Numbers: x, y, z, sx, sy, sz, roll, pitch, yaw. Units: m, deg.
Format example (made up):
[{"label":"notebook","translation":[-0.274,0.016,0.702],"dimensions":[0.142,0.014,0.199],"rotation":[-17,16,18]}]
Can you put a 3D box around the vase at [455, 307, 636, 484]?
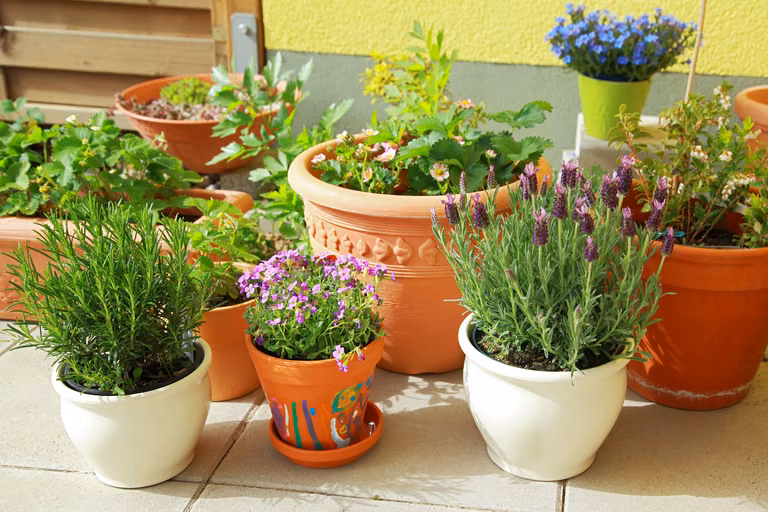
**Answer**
[{"label":"vase","translation":[0.695,0.581,2.923],"dimensions":[0.754,0.571,0.729],"rotation":[-1,19,5]}]

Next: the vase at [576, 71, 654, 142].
[{"label":"vase","translation":[1.169,-0.767,3.472],"dimensions":[0.351,0.285,0.371],"rotation":[2,22,-1]}]

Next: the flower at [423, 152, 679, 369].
[{"label":"flower","translation":[0.687,0.070,2.905],"dimensions":[0.877,0.656,0.839],"rotation":[-2,26,8]}]

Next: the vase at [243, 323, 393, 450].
[{"label":"vase","translation":[-0.308,0.595,2.893],"dimensions":[0.496,0.379,0.491],"rotation":[0,1,27]}]

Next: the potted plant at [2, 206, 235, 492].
[{"label":"potted plant","translation":[-1.097,0.352,2.839],"dimensions":[0.797,1.163,0.809],"rotation":[18,27,41]}]
